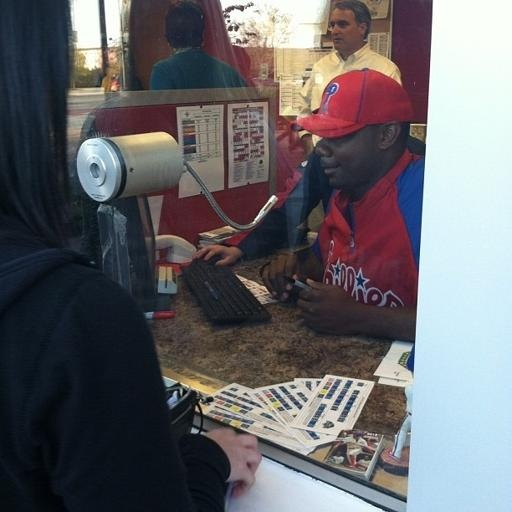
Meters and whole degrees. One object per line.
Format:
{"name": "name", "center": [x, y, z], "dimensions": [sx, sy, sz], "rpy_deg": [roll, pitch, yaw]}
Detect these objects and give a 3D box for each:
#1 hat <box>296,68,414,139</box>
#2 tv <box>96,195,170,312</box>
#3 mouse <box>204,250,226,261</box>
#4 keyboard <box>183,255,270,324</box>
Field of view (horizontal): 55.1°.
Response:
{"name": "hat", "center": [0.189, -0.297, 0.964], "dimensions": [0.231, 0.139, 0.170], "rpy_deg": [-3, 11, -9]}
{"name": "tv", "center": [-0.343, -0.008, 1.294], "dimensions": [0.108, 0.337, 0.094], "rpy_deg": [11, 28, 13]}
{"name": "mouse", "center": [-0.102, -0.001, 1.231], "dimensions": [0.052, 0.030, 0.028], "rpy_deg": [0, 17, 26]}
{"name": "keyboard", "center": [-0.088, 0.097, 1.246], "dimensions": [0.124, 0.035, 0.235], "rpy_deg": [-19, 41, -17]}
